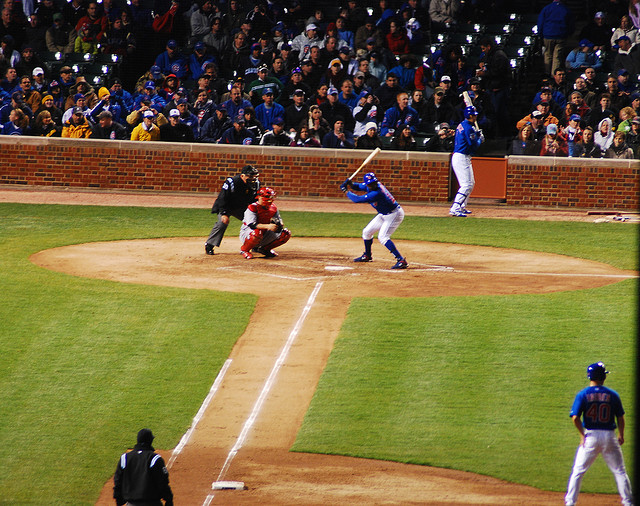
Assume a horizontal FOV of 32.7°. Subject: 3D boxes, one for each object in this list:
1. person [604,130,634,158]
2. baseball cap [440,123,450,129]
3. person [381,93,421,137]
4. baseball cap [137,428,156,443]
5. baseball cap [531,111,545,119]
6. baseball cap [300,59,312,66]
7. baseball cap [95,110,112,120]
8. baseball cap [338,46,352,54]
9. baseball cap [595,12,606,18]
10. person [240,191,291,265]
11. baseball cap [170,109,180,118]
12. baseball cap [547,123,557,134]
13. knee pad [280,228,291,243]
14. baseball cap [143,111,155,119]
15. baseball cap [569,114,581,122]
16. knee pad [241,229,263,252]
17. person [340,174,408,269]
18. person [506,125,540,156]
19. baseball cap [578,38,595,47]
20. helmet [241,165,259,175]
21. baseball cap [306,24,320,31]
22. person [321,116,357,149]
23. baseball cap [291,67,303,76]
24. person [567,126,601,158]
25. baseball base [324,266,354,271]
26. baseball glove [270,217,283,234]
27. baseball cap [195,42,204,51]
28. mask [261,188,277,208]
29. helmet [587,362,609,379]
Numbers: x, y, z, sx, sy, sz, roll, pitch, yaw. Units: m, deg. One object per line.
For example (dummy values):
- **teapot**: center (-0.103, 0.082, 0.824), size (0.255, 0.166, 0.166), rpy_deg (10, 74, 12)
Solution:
- **person**: center (7.943, -2.835, 28.468), size (0.927, 0.705, 0.457), rpy_deg (2, 7, 23)
- **baseball cap**: center (3.399, -3.386, 29.234), size (0.200, 0.109, 0.176), rpy_deg (2, 8, 17)
- **person**: center (2.252, -3.661, 29.978), size (1.222, 1.270, 0.822), rpy_deg (1, 21, -1)
- **baseball cap**: center (-2.137, 2.224, 13.345), size (0.178, 0.165, 0.197), rpy_deg (-3, 19, -5)
- **baseball cap**: center (5.954, -3.706, 29.330), size (0.323, 0.114, 0.408), rpy_deg (-2, 4, -11)
- **baseball cap**: center (-0.405, -5.741, 32.929), size (0.244, 0.102, 0.371), rpy_deg (-19, 8, -33)
- **baseball cap**: center (-5.987, -3.818, 30.261), size (0.317, 0.182, 0.234), rpy_deg (3, -2, -13)
- **baseball cap**: center (0.768, -6.107, 32.932), size (0.367, 0.220, 0.459), rpy_deg (1, 13, 0)
- **baseball cap**: center (8.561, -7.135, 32.795), size (0.279, 0.147, 0.239), rpy_deg (2, 14, 9)
- **person**: center (-1.142, -0.538, 21.762), size (0.971, 1.421, 0.775), rpy_deg (3, 16, 5)
- **baseball cap**: center (-4.010, -3.806, 29.881), size (0.246, 0.224, 0.245), rpy_deg (0, 14, -5)
- **baseball cap**: center (6.295, -3.300, 29.137), size (0.251, 0.252, 0.320), rpy_deg (4, 14, 10)
- **knee pad**: center (-0.675, -0.365, 22.059), size (0.141, 0.260, 0.395), rpy_deg (6, 14, 14)
- **baseball cap**: center (-4.726, -3.782, 29.927), size (0.276, 0.185, 0.298), rpy_deg (0, 13, -7)
- **baseball cap**: center (6.797, -3.538, 28.672), size (0.455, 0.156, 0.259), rpy_deg (7, 5, 25)
- **knee pad**: center (-1.345, -0.240, 21.706), size (0.504, 0.168, 0.323), rpy_deg (-31, -28, 24)
- **person**: center (1.114, -0.607, 21.200), size (0.870, 1.862, 1.158), rpy_deg (-13, 21, -41)
- **person**: center (5.677, -3.067, 29.365), size (0.996, 0.751, 0.536), rpy_deg (5, 22, 33)
- **baseball cap**: center (7.908, -6.112, 32.025), size (0.310, 0.241, 0.343), rpy_deg (0, 27, 20)
- **helmet**: center (-1.417, -1.641, 21.860), size (0.336, 0.129, 0.209), rpy_deg (0, 5, 15)
- **baseball cap**: center (-0.193, -6.939, 33.661), size (0.380, 0.100, 0.231), rpy_deg (-1, 0, -1)
- **person**: center (0.555, -3.290, 29.822), size (0.961, 0.840, 1.134), rpy_deg (3, 14, 7)
- **baseball cap**: center (-0.654, -5.268, 31.642), size (0.456, 0.238, 0.500), rpy_deg (-1, 11, 0)
- **person**: center (7.233, -2.876, 28.952), size (1.209, 0.803, 0.521), rpy_deg (5, 12, 28)
- **baseball base**: center (0.390, 0.306, 21.187), size (0.530, 0.005, 0.415), rpy_deg (1, 12, 2)
- **baseball glove**: center (-0.853, -0.558, 21.733), size (0.169, 0.277, 0.199), rpy_deg (-14, -1, -39)
- **baseball cap**: center (-3.751, -6.373, 33.753), size (0.172, 0.234, 0.355), rpy_deg (-11, 18, -39)
- **mask**: center (-1.042, -1.124, 21.752), size (0.446, 0.337, 0.286), rpy_deg (-5, 20, -4)
- **helmet**: center (3.751, 1.567, 14.464), size (0.297, 0.131, 0.198), rpy_deg (-15, 17, -33)
